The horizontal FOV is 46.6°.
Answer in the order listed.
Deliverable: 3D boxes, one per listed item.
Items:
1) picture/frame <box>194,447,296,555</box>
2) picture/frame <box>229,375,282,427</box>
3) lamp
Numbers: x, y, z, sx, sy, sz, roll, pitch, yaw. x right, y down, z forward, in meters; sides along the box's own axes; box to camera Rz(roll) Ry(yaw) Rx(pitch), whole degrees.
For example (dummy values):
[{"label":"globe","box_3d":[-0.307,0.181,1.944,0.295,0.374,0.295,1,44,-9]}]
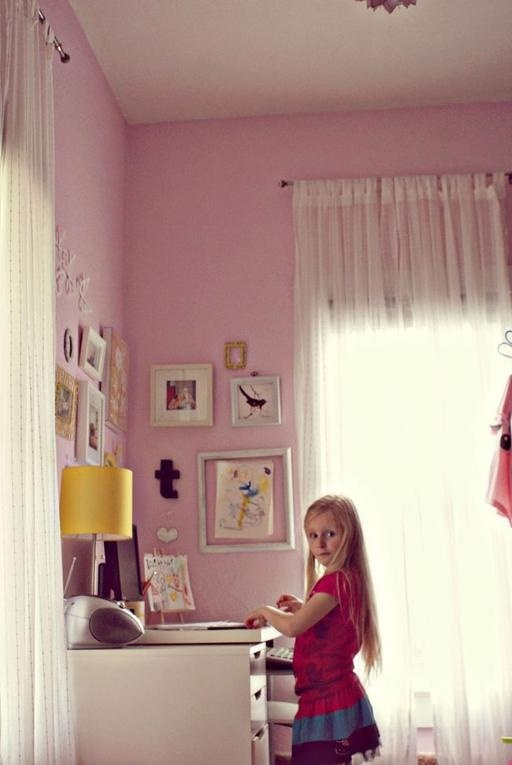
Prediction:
[{"label":"picture/frame","box_3d":[-0.041,0.466,2.372,0.366,0.443,0.030,-1,20,-4]},{"label":"picture/frame","box_3d":[0.003,0.082,2.448,0.179,0.209,0.013,-1,-16,5]},{"label":"lamp","box_3d":[-0.433,0.394,1.597,0.184,0.347,0.302,1,-11,-17]}]
